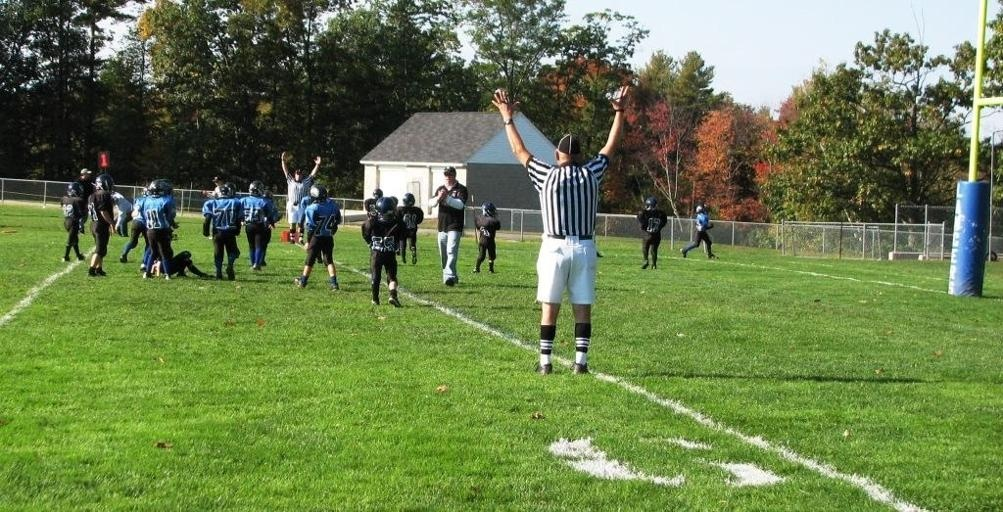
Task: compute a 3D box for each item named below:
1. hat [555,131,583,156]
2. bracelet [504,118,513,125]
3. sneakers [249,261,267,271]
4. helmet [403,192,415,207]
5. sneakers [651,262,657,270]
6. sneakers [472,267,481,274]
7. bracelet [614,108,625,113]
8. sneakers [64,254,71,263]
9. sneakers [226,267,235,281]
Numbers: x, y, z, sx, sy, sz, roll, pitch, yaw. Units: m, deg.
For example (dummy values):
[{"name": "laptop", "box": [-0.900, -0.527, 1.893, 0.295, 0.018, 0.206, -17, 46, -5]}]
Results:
[{"name": "hat", "box": [1.894, -3.128, 27.200, 0.610, 0.431, 0.798, 4, 18, 2]}, {"name": "bracelet", "box": [0.176, -3.758, 27.107, 0.225, 0.122, 0.217, 5, -5, -44]}, {"name": "sneakers", "box": [-9.152, 0.329, 36.959, 0.231, 0.255, 0.664, 4, 7, 18]}, {"name": "helmet", "box": [-3.312, -2.124, 35.241, 0.439, 0.464, 0.486, 7, 45, 5]}, {"name": "sneakers", "box": [6.416, 0.368, 40.928, 0.151, 0.278, 0.318, -5, -8, 0]}, {"name": "sneakers", "box": [-0.984, 0.540, 37.719, 0.244, 0.215, 0.166, 0, 3, 24]}, {"name": "bracelet", "box": [3.326, -4.095, 27.426, 0.173, 0.143, 0.154, 0, -2, 2]}, {"name": "sneakers", "box": [-16.539, 0.079, 37.028, 0.142, 0.252, 0.484, 0, 3, -28]}, {"name": "sneakers", "box": [-9.664, 0.611, 34.663, 0.244, 0.539, 0.256, -3, 7, 14]}]
